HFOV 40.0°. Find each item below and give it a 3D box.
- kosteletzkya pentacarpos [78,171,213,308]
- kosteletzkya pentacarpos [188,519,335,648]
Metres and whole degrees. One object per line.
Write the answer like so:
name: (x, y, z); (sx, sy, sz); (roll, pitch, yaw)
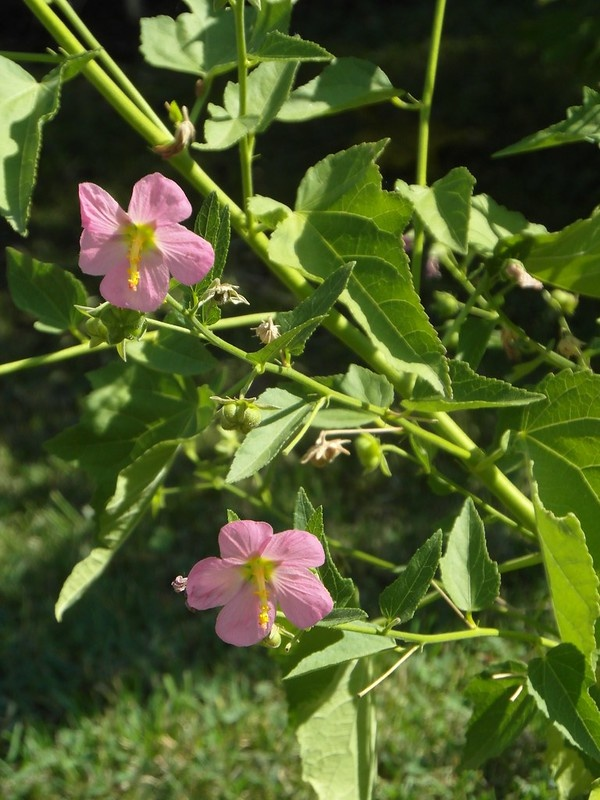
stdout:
kosteletzkya pentacarpos: (-0.185, -0.192, 0.993); (0.145, 0.134, 0.146); (-23, 55, -28)
kosteletzkya pentacarpos: (-0.052, 0.221, 0.990); (0.165, 0.127, 0.105); (1, 48, -8)
